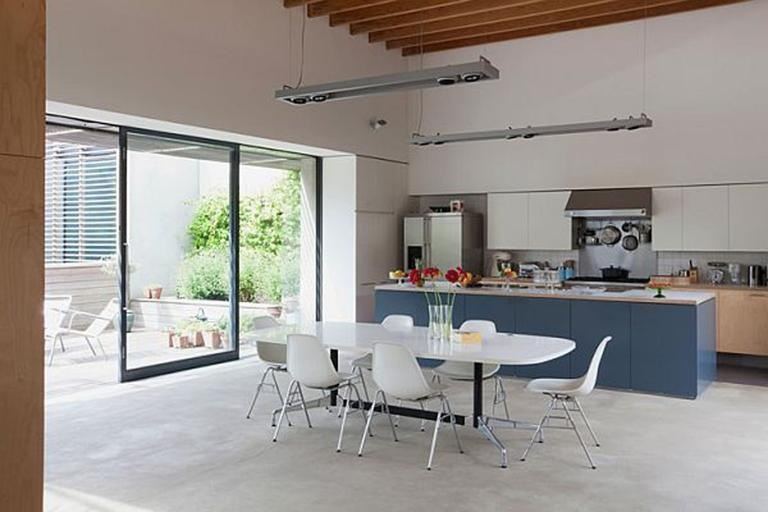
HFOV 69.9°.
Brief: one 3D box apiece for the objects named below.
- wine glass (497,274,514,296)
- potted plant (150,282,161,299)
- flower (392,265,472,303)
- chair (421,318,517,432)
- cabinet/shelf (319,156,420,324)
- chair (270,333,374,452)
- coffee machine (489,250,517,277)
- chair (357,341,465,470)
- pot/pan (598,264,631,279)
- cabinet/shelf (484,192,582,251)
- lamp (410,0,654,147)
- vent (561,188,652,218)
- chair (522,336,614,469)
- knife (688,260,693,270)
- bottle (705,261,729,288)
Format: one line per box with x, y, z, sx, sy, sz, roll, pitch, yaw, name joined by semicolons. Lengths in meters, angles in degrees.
1.773;0.406;8.017;0.177;0.228;0.584;-1;-2;14;wine glass
-3.089;0.479;7.470;0.155;0.176;0.160;-1;-9;4;potted plant
0.665;0.373;7.301;0.871;0.200;0.588;1;3;39;flower
1.097;1.236;5.942;0.936;1.480;1.029;-3;-11;28;chair
-0.312;-0.304;9.638;1.476;2.802;0.675;-5;8;-37;cabinet/shelf
-0.754;1.244;5.700;1.016;1.385;1.031;0;2;24;chair
2.066;0.140;9.470;0.467;0.521;0.268;0;-2;30;coffee machine
0.225;1.307;5.029;0.792;1.027;0.711;-3;-6;38;chair
3.790;0.272;9.025;0.360;0.138;0.200;0;0;40;pot/pan
2.536;-0.620;9.652;1.433;1.014;0.705;0;7;16;cabinet/shelf
2.013;-2.181;7.092;4.116;0.355;0.591;0;5;32;lamp
3.538;-0.846;8.685;1.254;0.435;0.398;3;7;27;vent
1.667;1.335;5.167;0.893;1.094;0.825;1;-3;1;chair
4.769;0.131;8.545;0.064;0.133;0.087;3;7;29;knife
5.068;0.250;8.336;0.372;0.397;0.231;0;-2;38;bottle
